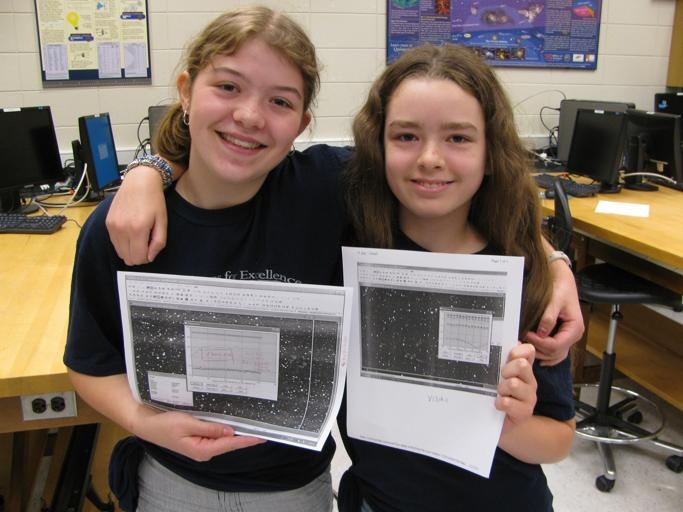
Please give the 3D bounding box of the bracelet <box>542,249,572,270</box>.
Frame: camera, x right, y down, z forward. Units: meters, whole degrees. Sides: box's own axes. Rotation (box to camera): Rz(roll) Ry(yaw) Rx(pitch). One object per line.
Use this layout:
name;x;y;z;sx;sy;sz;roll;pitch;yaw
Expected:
bracelet;0.588;0.004;1.494;0.061;0.043;0.087;-8;20;-21

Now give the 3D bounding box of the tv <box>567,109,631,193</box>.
tv;1.553;-0.616;3.236;0.177;0.406;0.456;-1;23;-19
